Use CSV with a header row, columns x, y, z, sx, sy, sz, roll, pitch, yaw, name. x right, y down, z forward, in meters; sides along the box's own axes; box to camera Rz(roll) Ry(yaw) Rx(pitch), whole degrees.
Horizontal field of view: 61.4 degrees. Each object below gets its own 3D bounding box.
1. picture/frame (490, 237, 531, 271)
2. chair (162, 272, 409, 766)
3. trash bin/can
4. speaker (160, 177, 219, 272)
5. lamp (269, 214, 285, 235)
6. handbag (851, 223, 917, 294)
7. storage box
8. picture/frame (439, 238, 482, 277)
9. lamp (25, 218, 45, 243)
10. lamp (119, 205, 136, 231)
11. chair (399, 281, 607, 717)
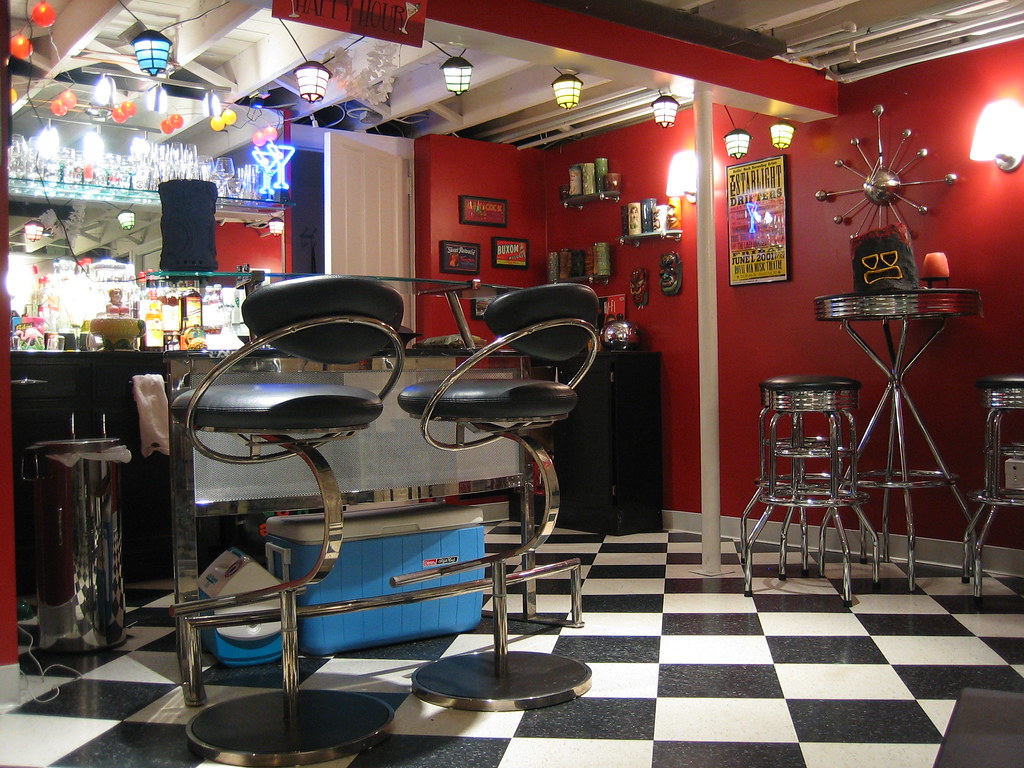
x,y,z,sx,sy,sz,roll,pitch,yaw,name
-0.030,-1.080,7.109,0.346,0.218,0.016,-2,0,-37,picture/frame
-0.757,0.427,2.911,0.708,1.545,0.924,-1,5,-20,chair
-1.942,0.719,3.897,0.421,0.901,0.418,-2,5,-25,trash bin/can
-1.445,-0.721,3.865,0.231,0.410,0.272,-1,5,-20,speaker
-2.044,-1.386,7.493,0.167,0.133,0.150,7,-11,-34,lamp
2.005,-0.671,4.651,0.267,0.327,0.429,0,4,-6,handbag
-0.629,0.804,3.913,1.144,0.647,0.616,0,-3,-33,storage box
-0.429,-1.019,6.909,0.370,0.227,0.048,0,4,-28,picture/frame
-3.205,-1.033,5.823,0.138,0.154,0.099,-3,6,-39,lamp
-2.833,-1.227,6.387,0.071,0.163,0.178,1,4,4,lamp
-0.038,0.399,3.267,0.702,1.525,0.969,1,4,5,chair
